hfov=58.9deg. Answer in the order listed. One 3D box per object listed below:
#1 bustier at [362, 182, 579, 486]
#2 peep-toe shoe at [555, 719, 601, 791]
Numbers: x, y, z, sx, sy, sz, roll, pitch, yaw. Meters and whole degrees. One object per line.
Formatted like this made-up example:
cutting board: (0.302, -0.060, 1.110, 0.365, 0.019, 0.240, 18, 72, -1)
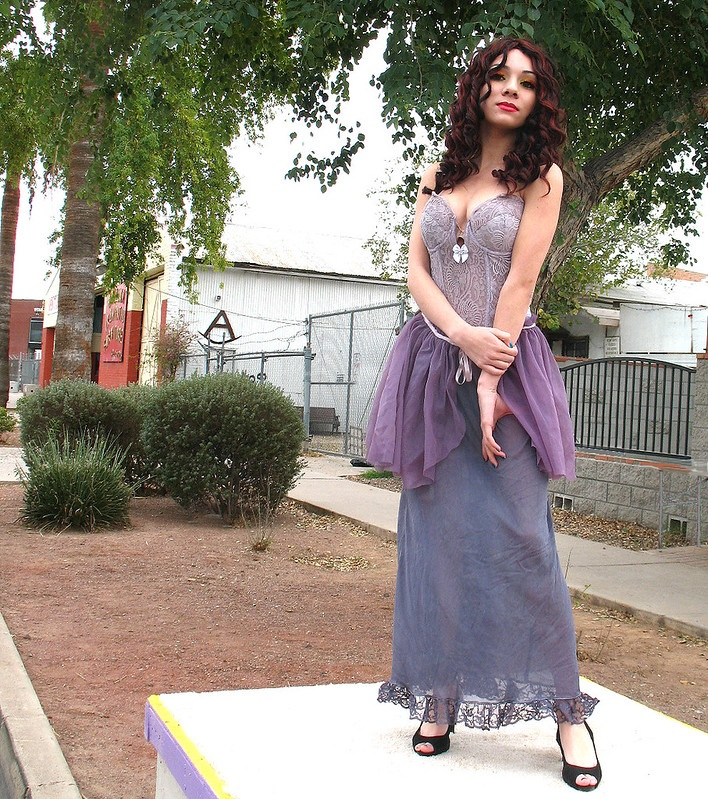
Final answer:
bustier: (0.307, -0.117, 1.667, 0.490, 0.865, 0.380, 2, -20, 15)
peep-toe shoe: (0.486, 0.773, 1.355, 0.093, 0.108, 0.175, 2, -2, 21)
